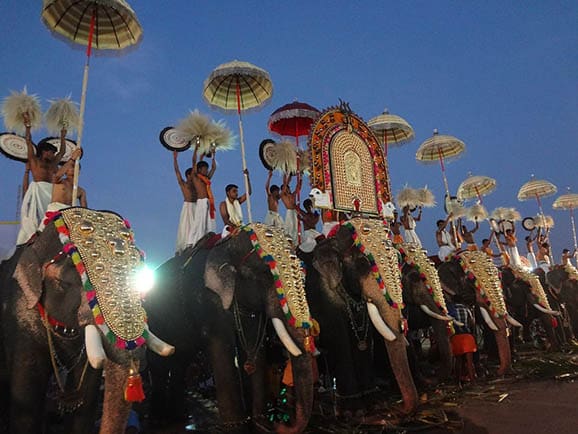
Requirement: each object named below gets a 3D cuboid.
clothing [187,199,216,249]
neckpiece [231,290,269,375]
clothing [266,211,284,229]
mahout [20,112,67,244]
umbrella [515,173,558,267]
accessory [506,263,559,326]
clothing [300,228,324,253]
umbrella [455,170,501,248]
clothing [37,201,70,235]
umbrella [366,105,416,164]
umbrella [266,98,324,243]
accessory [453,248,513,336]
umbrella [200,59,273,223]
[{"bbox_3d":[-1.410,0.055,8.288,0.292,0.719,0.521,-5,-3,30],"label":"clothing"},{"bbox_3d":[-0.531,1.541,6.989,0.309,1.112,0.400,3,4,-9],"label":"neckpiece"},{"bbox_3d":[-0.254,0.051,8.763,0.286,0.295,0.170,19,-45,-23],"label":"clothing"},{"bbox_3d":[-3.335,-0.490,7.334,0.478,1.885,0.374,-4,29,-32],"label":"mahout"},{"bbox_3d":[6.514,-0.328,13.950,0.867,1.766,0.913,-8,12,42],"label":"umbrella"},{"bbox_3d":[4.619,1.371,10.125,0.367,0.677,1.026,-3,-3,-11],"label":"accessory"},{"bbox_3d":[0.311,0.342,8.285,0.346,0.500,0.237,5,-38,-4],"label":"clothing"},{"bbox_3d":[4.358,-0.398,12.508,0.690,1.451,0.730,-8,6,23],"label":"umbrella"},{"bbox_3d":[-2.670,0.013,6.079,0.181,0.326,0.083,21,-14,18],"label":"clothing"},{"bbox_3d":[1.769,-1.513,9.346,0.702,0.724,0.840,-5,-3,25],"label":"umbrella"},{"bbox_3d":[0.141,-1.111,9.302,0.761,1.926,0.780,11,-29,-23],"label":"umbrella"},{"bbox_3d":[3.101,1.204,8.692,0.655,1.284,0.435,-15,-10,-40],"label":"accessory"},{"bbox_3d":[-0.824,-1.685,9.502,1.088,1.165,2.463,20,-45,22],"label":"umbrella"}]
